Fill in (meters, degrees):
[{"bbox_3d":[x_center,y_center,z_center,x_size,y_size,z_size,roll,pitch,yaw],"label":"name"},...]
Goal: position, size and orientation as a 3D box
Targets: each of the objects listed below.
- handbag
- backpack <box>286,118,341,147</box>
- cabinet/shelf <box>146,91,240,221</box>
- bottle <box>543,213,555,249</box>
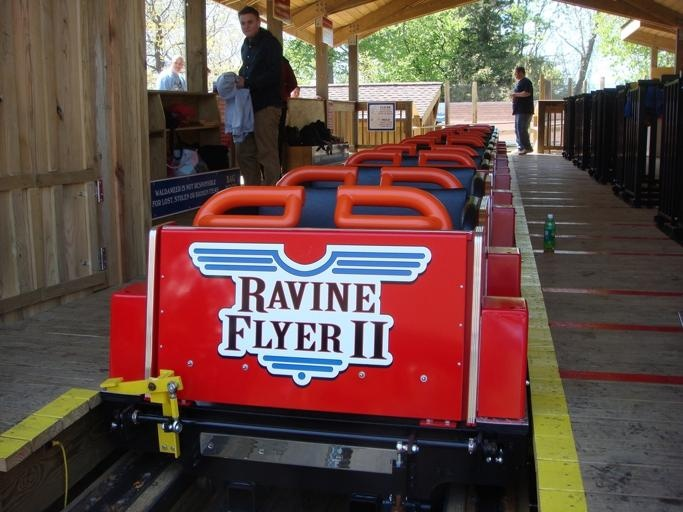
[{"bbox_3d":[-1.843,-1.440,6.719,0.307,0.965,1.001,2,13,14],"label":"handbag"},{"bbox_3d":[-0.796,-2.633,11.840,0.671,0.322,0.890,-1,8,-25],"label":"backpack"},{"bbox_3d":[-1.905,-1.180,6.208,0.589,1.266,1.822,10,15,12],"label":"cabinet/shelf"},{"bbox_3d":[2.053,-0.234,5.354,0.087,0.379,0.164,3,12,17],"label":"bottle"}]
